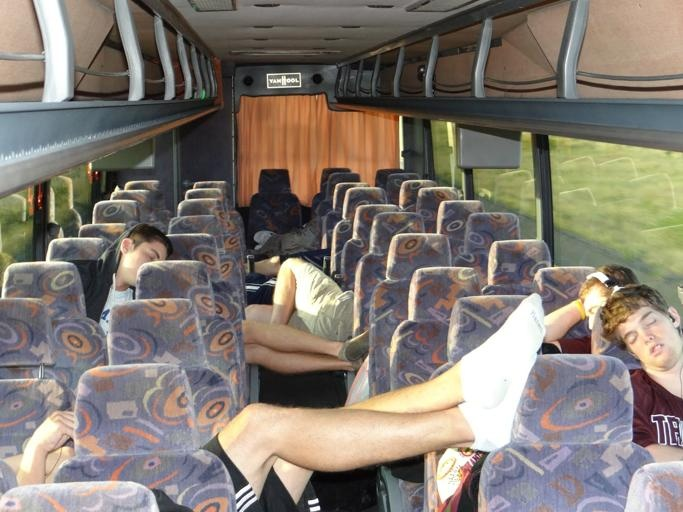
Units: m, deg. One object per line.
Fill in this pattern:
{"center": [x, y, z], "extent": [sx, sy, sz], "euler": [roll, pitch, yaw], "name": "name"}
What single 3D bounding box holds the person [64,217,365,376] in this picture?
{"center": [-0.882, 0.341, 3.817], "extent": [2.135, 0.957, 1.136], "euler": [3, -60, -1], "name": "person"}
